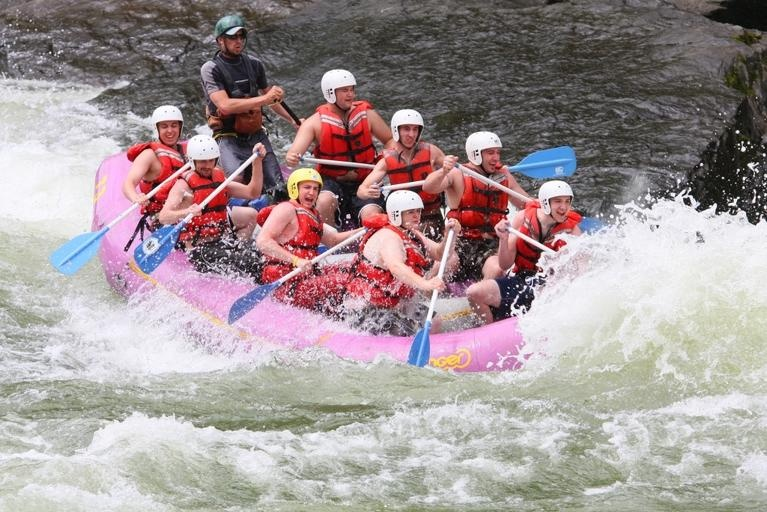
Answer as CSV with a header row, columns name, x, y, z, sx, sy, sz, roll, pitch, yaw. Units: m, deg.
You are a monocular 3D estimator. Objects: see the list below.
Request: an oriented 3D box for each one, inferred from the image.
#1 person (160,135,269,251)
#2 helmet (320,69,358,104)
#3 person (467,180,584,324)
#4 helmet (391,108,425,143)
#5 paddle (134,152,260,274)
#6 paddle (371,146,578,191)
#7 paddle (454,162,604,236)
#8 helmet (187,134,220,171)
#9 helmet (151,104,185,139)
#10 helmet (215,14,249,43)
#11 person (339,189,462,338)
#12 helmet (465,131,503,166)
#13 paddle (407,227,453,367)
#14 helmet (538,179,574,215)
name,x,y,z,sx,sy,sz,roll,pitch,yaw
person,-1.847,-0.654,9.575,0.692,1.279,1.103,-19,2,37
helmet,-0.518,-1.922,9.968,0.445,0.311,0.343,1,10,31
person,1.403,-0.047,8.771,0.711,1.333,1.011,13,26,40
helmet,0.265,-1.447,9.668,0.304,0.279,0.387,1,4,-19
paddle,-2.018,-0.436,9.468,1.650,0.293,0.073,-35,2,-12
paddle,1.104,-0.964,9.983,2.223,0.127,0.422,-2,46,26
paddle,1.532,-0.594,9.449,1.899,0.310,0.079,28,29,15
helmet,-1.869,-1.109,9.399,0.314,0.336,0.363,-13,22,-31
helmet,-2.407,-1.526,9.914,0.362,0.318,0.441,-10,12,-15
helmet,-1.768,-2.676,10.213,0.330,0.224,0.447,1,-14,-34
person,0.266,0.221,8.857,1.200,1.583,1.211,-7,13,-33
helmet,1.030,-1.144,9.418,0.415,0.301,0.303,-2,7,24
paddle,0.464,0.379,8.535,0.265,1.039,1.092,1,20,17
helmet,1.656,-0.601,8.790,0.293,0.292,0.367,-2,5,-29
